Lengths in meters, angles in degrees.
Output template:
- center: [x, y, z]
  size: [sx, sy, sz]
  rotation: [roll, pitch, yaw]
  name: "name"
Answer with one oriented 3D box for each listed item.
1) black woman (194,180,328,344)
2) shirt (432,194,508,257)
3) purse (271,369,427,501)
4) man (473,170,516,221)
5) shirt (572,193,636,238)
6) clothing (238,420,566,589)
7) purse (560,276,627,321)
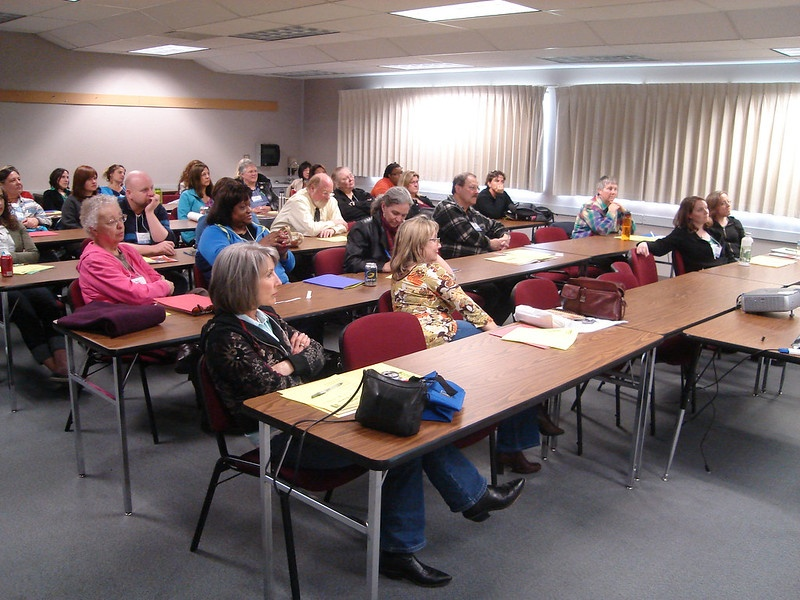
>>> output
- center: [-1.018, -0.209, 4.018]
  size: [0.961, 1.271, 0.631]
  rotation: [0, 4, 35]
  name: "black woman"
- center: [0.843, -0.739, 5.514]
  size: [0.877, 0.502, 0.619]
  rotation: [0, 8, 20]
  name: "shirt"
- center: [-0.075, 0.502, 2.040]
  size: [0.505, 0.165, 0.655]
  rotation: [8, 23, 40]
  name: "purse"
- center: [1.330, -1.466, 7.760]
  size: [0.673, 0.686, 0.453]
  rotation: [-13, 24, -20]
  name: "man"
- center: [2.484, -1.014, 6.643]
  size: [0.657, 0.541, 0.482]
  rotation: [6, 18, 23]
  name: "shirt"
- center: [0.129, 0.830, 2.437]
  size: [0.868, 0.345, 1.352]
  rotation: [8, 8, 39]
  name: "clothing"
- center: [1.174, -0.004, 3.366]
  size: [0.304, 0.164, 0.128]
  rotation: [10, 21, 30]
  name: "purse"
